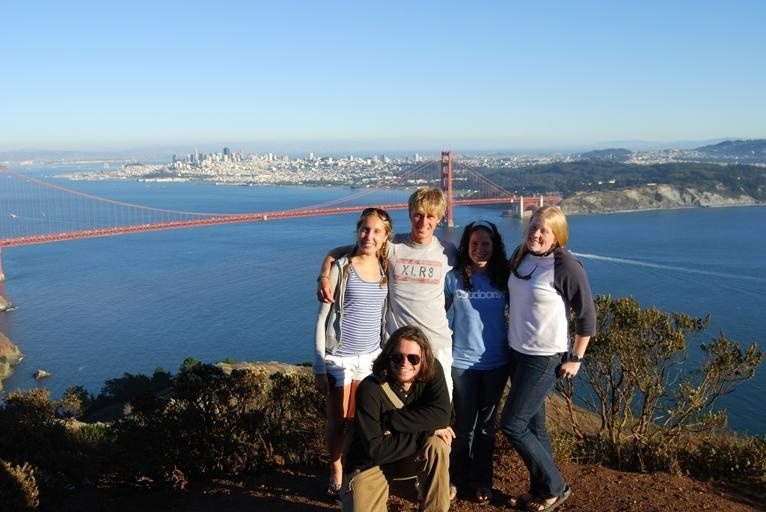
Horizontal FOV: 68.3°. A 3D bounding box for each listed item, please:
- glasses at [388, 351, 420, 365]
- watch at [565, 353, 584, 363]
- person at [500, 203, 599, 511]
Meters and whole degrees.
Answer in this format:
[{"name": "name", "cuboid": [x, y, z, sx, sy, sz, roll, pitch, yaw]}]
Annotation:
[{"name": "glasses", "cuboid": [0.103, 0.486, 2.660, 0.138, 0.065, 0.020, 0, 13, 6]}, {"name": "watch", "cuboid": [0.959, 0.516, 2.821, 0.078, 0.049, 0.081, 11, -17, -44]}, {"name": "person", "cuboid": [0.827, 0.520, 2.836, 0.421, 1.506, 0.396, 2, 14, 17]}]
